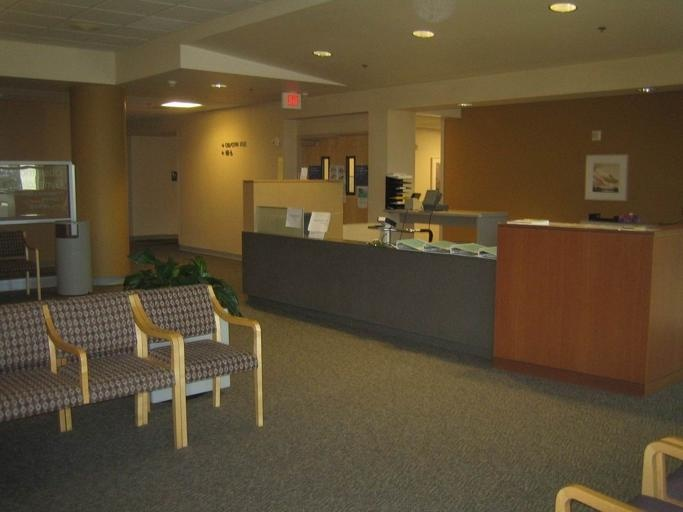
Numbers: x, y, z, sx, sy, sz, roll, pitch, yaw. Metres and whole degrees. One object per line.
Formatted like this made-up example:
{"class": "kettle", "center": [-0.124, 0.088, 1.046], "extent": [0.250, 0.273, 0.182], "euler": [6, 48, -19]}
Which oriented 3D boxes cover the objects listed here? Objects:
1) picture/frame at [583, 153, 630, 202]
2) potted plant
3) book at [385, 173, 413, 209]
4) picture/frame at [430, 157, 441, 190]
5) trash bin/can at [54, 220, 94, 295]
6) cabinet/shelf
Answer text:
{"class": "picture/frame", "center": [4.534, -1.356, 9.129], "extent": [0.029, 0.906, 0.816], "euler": [-4, 5, -40]}
{"class": "potted plant", "center": [-1.477, 0.665, 4.941], "extent": [1.279, 1.478, 1.062], "euler": [-5, 6, -41]}
{"class": "book", "center": [1.088, -1.211, 10.017], "extent": [0.613, 0.643, 0.594], "euler": [-3, 9, -18]}
{"class": "picture/frame", "center": [2.527, -2.237, 14.471], "extent": [0.256, 0.817, 0.462], "euler": [2, 9, 18]}
{"class": "trash bin/can", "center": [-4.656, 0.036, 9.340], "extent": [0.523, 1.213, 0.585], "euler": [1, 6, -7]}
{"class": "cabinet/shelf", "center": [-0.881, -0.803, 9.319], "extent": [1.175, 1.131, 0.377], "euler": [-1, 10, -22]}
